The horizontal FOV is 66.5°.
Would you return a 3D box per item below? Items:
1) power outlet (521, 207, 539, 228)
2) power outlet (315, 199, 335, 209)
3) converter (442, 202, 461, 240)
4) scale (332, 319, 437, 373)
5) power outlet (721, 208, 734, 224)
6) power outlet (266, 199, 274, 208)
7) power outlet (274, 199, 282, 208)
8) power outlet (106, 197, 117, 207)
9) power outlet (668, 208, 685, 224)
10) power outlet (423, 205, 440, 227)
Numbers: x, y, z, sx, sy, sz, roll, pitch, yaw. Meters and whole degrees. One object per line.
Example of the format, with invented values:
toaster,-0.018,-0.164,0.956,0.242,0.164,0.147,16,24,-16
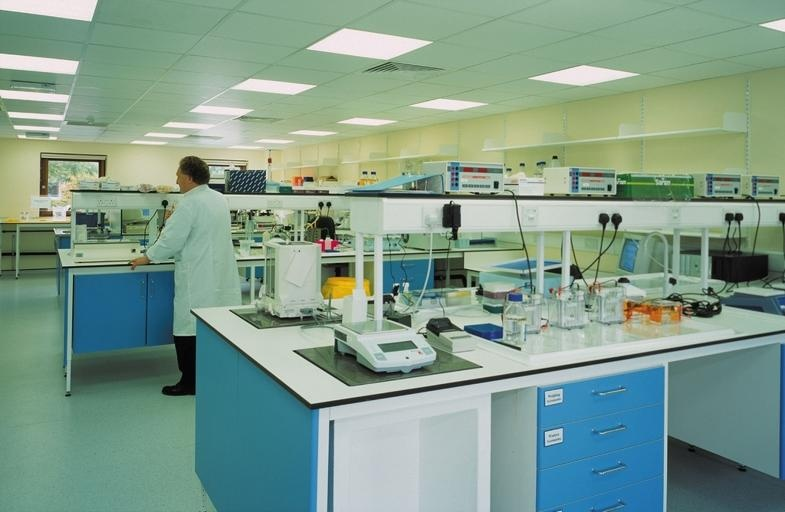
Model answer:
power outlet,0.860,-0.246,3.749,0.141,0.122,0.041,-3,8,-21
power outlet,-0.697,-0.520,6.029,0.143,0.074,0.055,-9,16,-37
converter,0.365,-0.213,3.589,0.104,0.238,0.144,6,14,22
scale,-0.078,0.448,3.225,0.300,0.127,0.381,-3,6,-30
power outlet,2.459,-0.283,4.326,0.104,0.096,0.021,-6,15,-26
power outlet,-1.196,-0.504,5.758,0.070,0.076,0.009,-10,17,-37
power outlet,-1.136,-0.499,5.800,0.122,0.074,0.062,-2,8,-27
power outlet,-2.569,-0.486,5.380,0.100,0.080,0.022,2,7,-25
power outlet,1.952,-0.272,4.090,0.123,0.124,0.024,-7,15,-30
power outlet,0.221,-0.233,3.512,0.146,0.121,0.045,0,2,-26
